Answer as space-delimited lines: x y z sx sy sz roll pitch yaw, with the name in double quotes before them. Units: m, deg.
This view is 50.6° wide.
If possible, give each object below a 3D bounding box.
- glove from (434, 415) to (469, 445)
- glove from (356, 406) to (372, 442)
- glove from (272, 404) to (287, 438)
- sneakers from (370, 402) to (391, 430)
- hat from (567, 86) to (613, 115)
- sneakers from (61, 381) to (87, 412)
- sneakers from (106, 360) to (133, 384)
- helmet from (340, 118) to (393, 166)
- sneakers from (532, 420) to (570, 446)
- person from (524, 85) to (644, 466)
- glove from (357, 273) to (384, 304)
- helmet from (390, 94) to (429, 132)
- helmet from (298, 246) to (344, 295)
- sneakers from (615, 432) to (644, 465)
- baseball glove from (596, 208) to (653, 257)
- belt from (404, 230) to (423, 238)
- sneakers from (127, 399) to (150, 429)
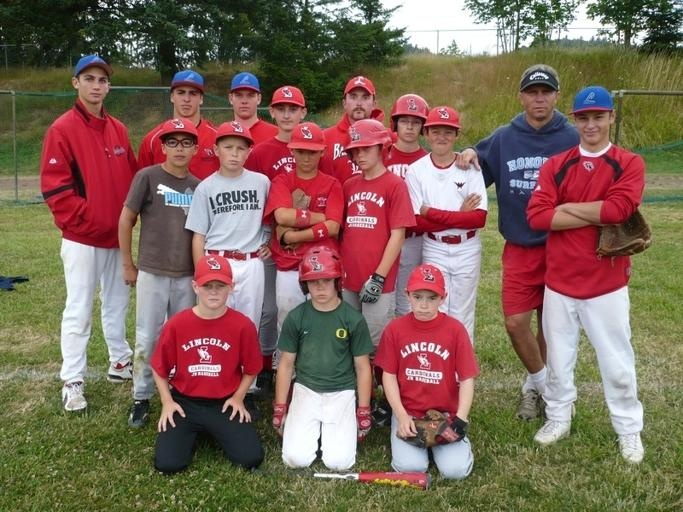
"glove" 1.049 1.652 6.874 0.210 0.273 0.266 7 13 38
"glove" 0.211 1.654 7.180 0.207 0.317 0.119 2 -4 7
"glove" -0.614 1.591 7.152 0.222 0.350 0.109 2 -5 -45
"sneakers" 0.398 1.665 7.524 0.201 0.251 0.605 1 -14 0
"hat" 2.437 -1.501 7.008 0.388 0.263 0.227 0 10 10
"sneakers" -2.833 1.458 7.636 0.238 0.279 0.297 -6 11 -24
"sneakers" -2.504 1.306 8.181 0.411 0.219 0.145 -1 8 -33
"helmet" 0.257 -1.193 7.374 0.292 0.346 0.411 9 24 39
"sneakers" 2.103 1.731 7.261 0.435 0.189 0.161 -18 24 -22
"person" 2.399 0.143 7.065 1.115 3.490 0.676 3 11 24
"glove" 0.307 0.326 7.232 0.200 0.309 0.092 27 11 -5
"helmet" 0.730 -1.566 7.897 0.300 0.330 0.413 7 19 -3
"helmet" -0.214 0.125 7.145 0.312 0.381 0.464 1 14 8
"sneakers" 2.780 1.812 6.957 0.127 0.151 0.384 -17 40 24
"baseball glove" 2.696 -0.179 6.919 0.361 0.521 0.236 6 -19 25
"belt" 0.771 -0.240 7.840 0.087 0.047 0.121 -23 -32 34
"sneakers" -2.085 1.624 7.438 0.125 0.139 0.337 14 22 -22
